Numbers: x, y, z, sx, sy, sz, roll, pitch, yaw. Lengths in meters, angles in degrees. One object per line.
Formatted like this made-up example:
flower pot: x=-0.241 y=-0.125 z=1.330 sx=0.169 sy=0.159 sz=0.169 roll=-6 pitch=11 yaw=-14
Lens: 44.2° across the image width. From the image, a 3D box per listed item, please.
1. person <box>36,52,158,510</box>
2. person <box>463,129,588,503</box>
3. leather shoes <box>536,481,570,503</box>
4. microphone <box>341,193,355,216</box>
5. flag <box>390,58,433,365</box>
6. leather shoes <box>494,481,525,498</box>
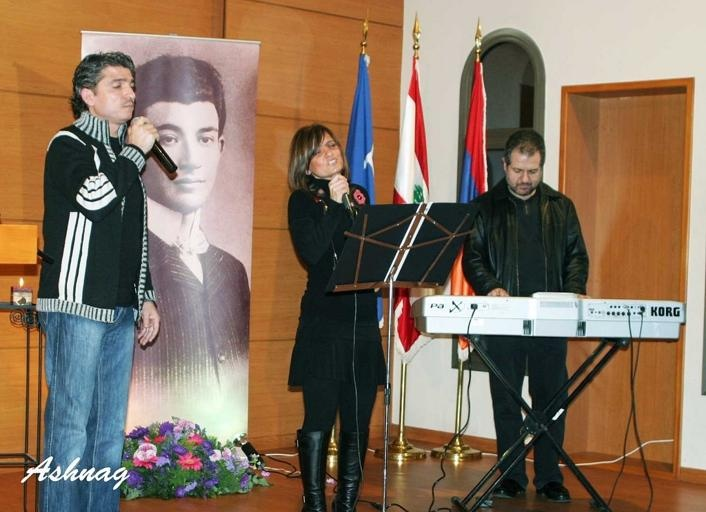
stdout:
person: x=-1.265 y=0.134 z=4.332 sx=0.573 sy=2.324 sz=0.379 roll=3 pitch=0 yaw=-23
person: x=1.122 y=0.393 z=5.571 sx=0.884 sy=2.297 sz=0.743 roll=-13 pitch=20 yaw=-18
leather shoes: x=1.268 y=1.459 z=5.482 sx=0.086 sy=0.083 sz=0.187 roll=8 pitch=-14 yaw=-34
microphone: x=-0.022 y=-0.278 z=4.667 sx=0.065 sy=0.110 sz=0.116 roll=2 pitch=-1 yaw=26
flag: x=0.421 y=-0.354 z=6.419 sx=0.301 sy=2.198 sz=0.569 roll=2 pitch=0 yaw=19
leather shoes: x=0.983 y=1.431 z=5.469 sx=0.193 sy=0.087 sz=0.103 roll=3 pitch=-2 yaw=-43
